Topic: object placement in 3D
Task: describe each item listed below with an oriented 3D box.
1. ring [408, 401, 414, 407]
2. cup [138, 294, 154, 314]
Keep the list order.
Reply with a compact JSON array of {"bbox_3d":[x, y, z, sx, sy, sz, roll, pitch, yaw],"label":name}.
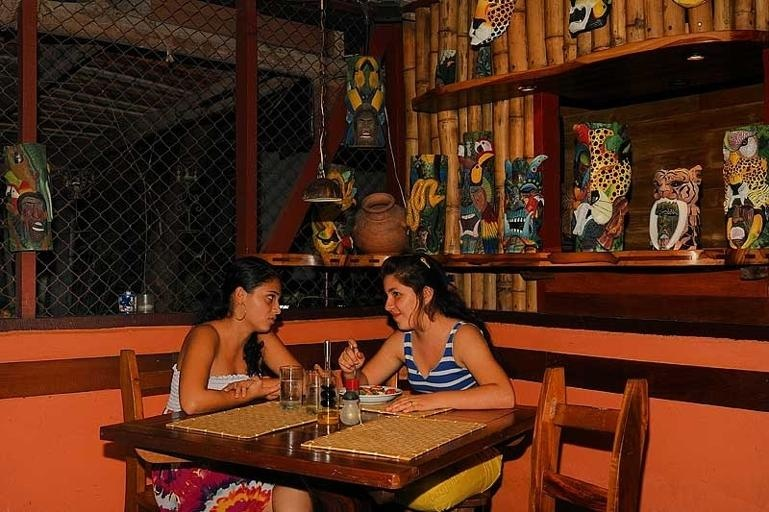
[{"bbox_3d":[0.146,0.780,3.442,0.019,0.019,0.006,-6,-29,8],"label":"ring"},{"bbox_3d":[-1.563,0.312,4.247,0.104,0.128,0.107,2,1,0],"label":"cup"}]
